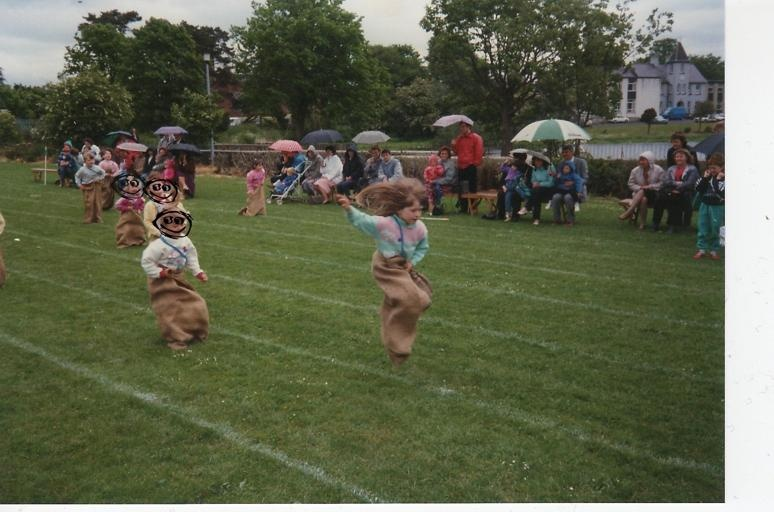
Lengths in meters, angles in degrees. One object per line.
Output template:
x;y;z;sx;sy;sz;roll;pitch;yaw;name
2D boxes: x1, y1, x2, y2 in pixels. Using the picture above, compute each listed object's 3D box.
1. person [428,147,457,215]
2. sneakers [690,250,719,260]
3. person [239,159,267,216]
1.523;-2.123;18.165;0.929;1.784;0.794;-8;15;-19;person
6.193;-0.039;12.777;0.182;0.253;0.534;-9;4;-34;sneakers
-3.789;-1.911;18.418;0.663;1.533;1.876;2;7;-13;person
